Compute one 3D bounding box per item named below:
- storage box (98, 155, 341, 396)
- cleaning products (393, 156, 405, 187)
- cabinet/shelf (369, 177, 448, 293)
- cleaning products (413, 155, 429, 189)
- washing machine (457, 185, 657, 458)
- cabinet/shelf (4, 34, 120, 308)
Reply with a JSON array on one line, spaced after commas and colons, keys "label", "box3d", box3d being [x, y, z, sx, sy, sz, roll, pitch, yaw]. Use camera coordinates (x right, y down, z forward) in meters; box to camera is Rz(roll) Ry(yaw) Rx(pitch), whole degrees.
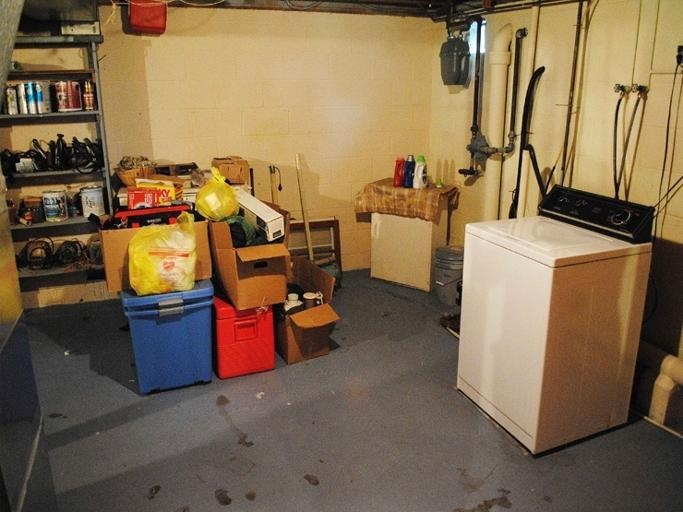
[{"label": "storage box", "box3d": [-0.924, 0.115, 4.031, 1.603, 1.152, 1.295, -6, 13, -24]}, {"label": "cleaning products", "box3d": [0.583, -0.839, 5.282, 0.100, 0.332, 0.113, -1, -5, -9]}, {"label": "cabinet/shelf", "box3d": [0.716, -0.292, 5.389, 0.974, 0.982, 0.731, 8, 17, 28]}, {"label": "cleaning products", "box3d": [0.777, -0.834, 5.119, 0.126, 0.302, 0.215, 1, 20, 8]}, {"label": "washing machine", "box3d": [1.328, 0.354, 3.338, 0.844, 1.394, 0.832, -10, 21, -23]}, {"label": "cabinet/shelf", "box3d": [-2.456, -0.658, 4.538, 1.035, 2.319, 0.547, -10, 21, -21]}]
